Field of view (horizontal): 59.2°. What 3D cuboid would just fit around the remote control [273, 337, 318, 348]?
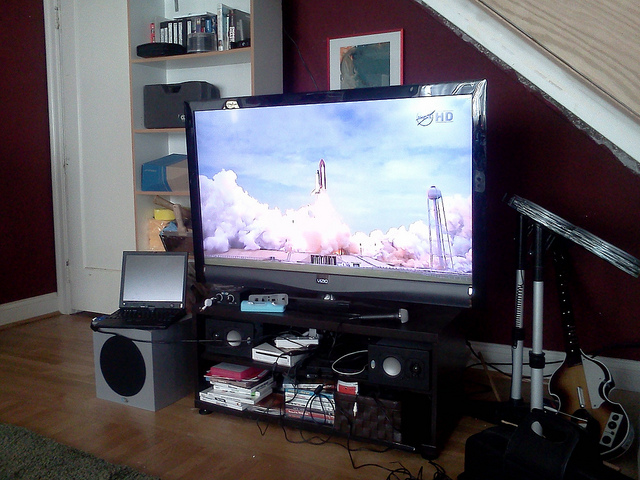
[{"bbox_3d":[-0.109,0.473,2.601,0.196,0.045,0.049,-1,11,-5],"label":"remote control"}]

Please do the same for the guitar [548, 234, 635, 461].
[{"bbox_3d":[1.134,0.465,2.484,0.285,0.863,0.512,-2,11,-10],"label":"guitar"}]

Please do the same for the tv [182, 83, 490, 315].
[{"bbox_3d":[0.022,-0.196,2.557,1.398,0.962,0.078,4,12,20],"label":"tv"}]

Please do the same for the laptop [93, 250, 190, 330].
[{"bbox_3d":[-0.869,0.264,2.785,0.408,0.303,0.372,3,15,7],"label":"laptop"}]

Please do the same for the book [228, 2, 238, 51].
[{"bbox_3d":[-0.521,-1.248,3.330,0.052,0.222,0.061,2,11,15],"label":"book"}]

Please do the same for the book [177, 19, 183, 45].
[{"bbox_3d":[-0.877,-1.309,3.535,0.018,0.150,0.051,-10,14,-40],"label":"book"}]

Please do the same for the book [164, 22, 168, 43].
[{"bbox_3d":[-0.983,-1.334,3.607,0.033,0.114,0.007,9,14,40],"label":"book"}]

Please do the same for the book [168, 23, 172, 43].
[{"bbox_3d":[-0.953,-1.323,3.587,0.009,0.116,0.049,-10,14,-41],"label":"book"}]

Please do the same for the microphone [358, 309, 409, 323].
[{"bbox_3d":[0.275,0.307,2.400,0.195,0.049,0.074,0,6,19],"label":"microphone"}]

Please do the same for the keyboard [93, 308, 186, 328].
[{"bbox_3d":[-0.889,0.386,2.775,0.383,0.036,0.216,2,12,10],"label":"keyboard"}]

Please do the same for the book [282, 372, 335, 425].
[{"bbox_3d":[-0.050,0.719,2.532,0.232,0.226,0.141,3,7,15],"label":"book"}]

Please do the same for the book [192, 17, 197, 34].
[{"bbox_3d":[-0.769,-1.324,3.453,0.050,0.087,0.022,10,15,42],"label":"book"}]

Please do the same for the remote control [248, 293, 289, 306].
[{"bbox_3d":[-0.238,0.264,2.613,0.133,0.032,0.074,0,1,14],"label":"remote control"}]
